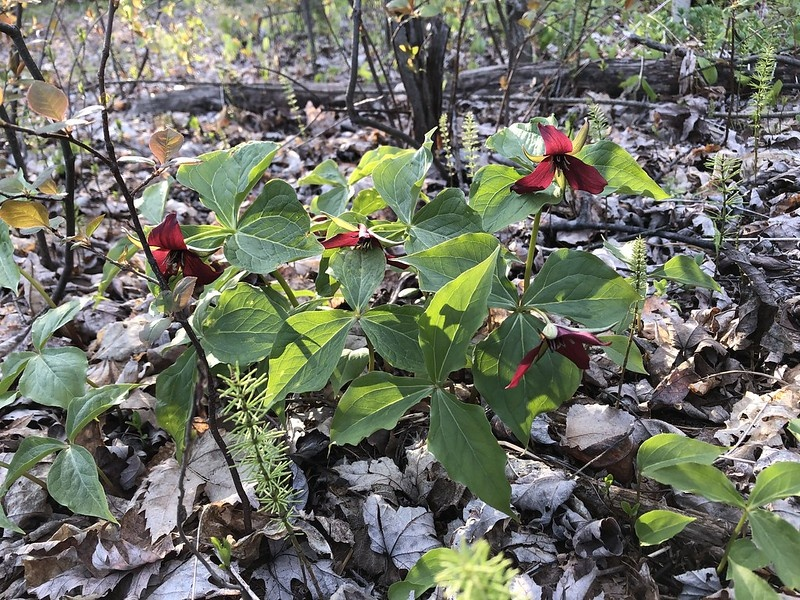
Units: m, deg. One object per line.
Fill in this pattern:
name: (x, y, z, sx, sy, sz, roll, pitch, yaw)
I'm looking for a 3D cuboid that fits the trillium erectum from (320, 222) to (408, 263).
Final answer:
trillium erectum: (-0.186, -0.268, 3.296, 0.224, 0.078, 0.219, 30, -4, -37)
